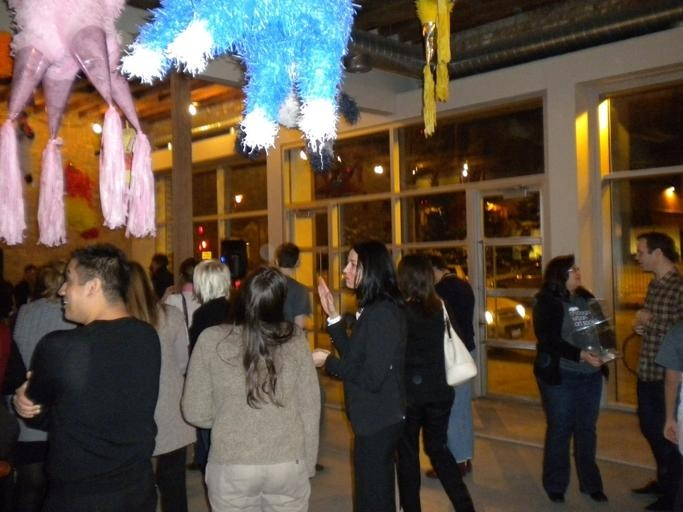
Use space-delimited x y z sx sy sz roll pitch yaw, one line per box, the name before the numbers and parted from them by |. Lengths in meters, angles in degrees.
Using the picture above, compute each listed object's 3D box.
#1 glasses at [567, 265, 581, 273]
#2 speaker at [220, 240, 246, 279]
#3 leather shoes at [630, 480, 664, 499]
glasses | 1.823 0.101 4.462 0.112 0.037 0.112 -4 -4 39
speaker | -1.237 0.038 6.348 0.267 0.489 0.246 -2 -2 11
leather shoes | 2.304 1.781 4.349 0.274 0.117 0.088 2 -8 15
